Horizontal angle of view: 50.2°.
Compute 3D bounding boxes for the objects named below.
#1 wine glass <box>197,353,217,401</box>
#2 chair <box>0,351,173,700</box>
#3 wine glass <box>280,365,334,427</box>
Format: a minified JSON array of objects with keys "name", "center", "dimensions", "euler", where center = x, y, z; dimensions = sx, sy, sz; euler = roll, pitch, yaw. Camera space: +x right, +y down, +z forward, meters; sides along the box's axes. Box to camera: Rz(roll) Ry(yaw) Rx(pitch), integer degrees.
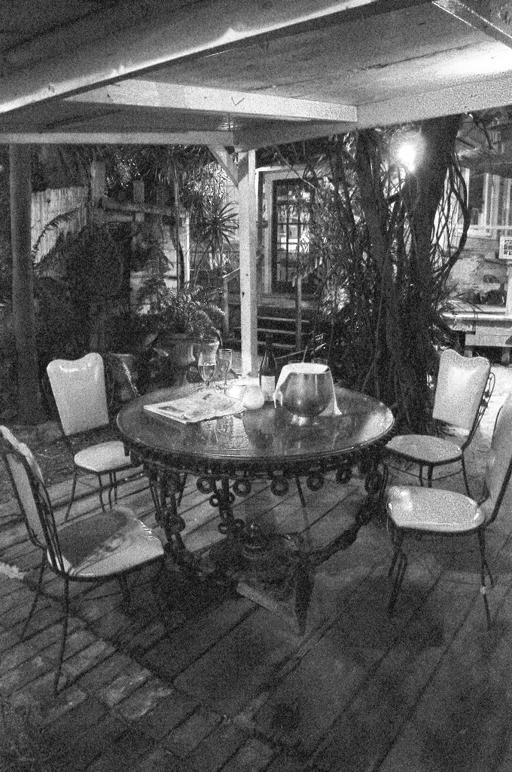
[{"name":"wine glass","center":[-0.231,-0.040,2.582],"dimensions":[0.086,0.309,0.100],"euler":[-11,31,-22]},{"name":"chair","center":[-0.694,0.350,2.283],"dimensions":[0.622,1.604,0.667],"euler":[-10,26,-34]},{"name":"wine glass","center":[0.197,0.034,2.182],"dimensions":[0.140,0.233,0.219],"euler":[-2,7,-7]}]
